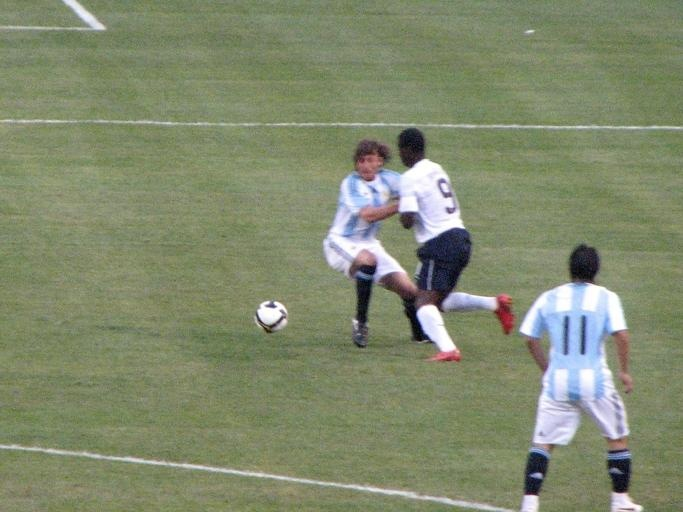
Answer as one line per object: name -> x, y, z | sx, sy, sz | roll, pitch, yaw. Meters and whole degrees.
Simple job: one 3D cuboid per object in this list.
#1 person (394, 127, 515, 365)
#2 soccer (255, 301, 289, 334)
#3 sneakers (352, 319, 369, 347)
person -> 1.367, -0.151, 25.622 | 1.184, 2.994, 0.899 | -3, 11, 4
soccer -> -0.941, 0.806, 26.396 | 0.504, 0.371, 0.558 | 3, -8, 19
sneakers -> 0.227, 1.021, 26.116 | 0.208, 0.364, 0.222 | -4, 11, 0
